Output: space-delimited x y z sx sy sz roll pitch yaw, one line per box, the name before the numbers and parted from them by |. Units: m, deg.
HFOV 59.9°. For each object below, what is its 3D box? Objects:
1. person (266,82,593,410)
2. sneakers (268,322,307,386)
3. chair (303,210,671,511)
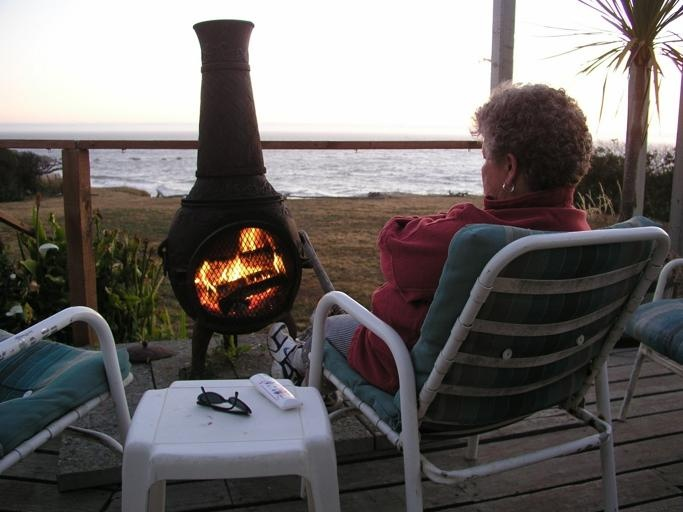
person | 0.303 0.065 2.448 0.800 1.249 1.480 12 -11 -34
sneakers | -0.235 0.433 2.557 0.106 0.234 0.335 3 52 -24
chair | 0.436 0.167 2.298 0.814 1.105 1.128 -3 11 -18
